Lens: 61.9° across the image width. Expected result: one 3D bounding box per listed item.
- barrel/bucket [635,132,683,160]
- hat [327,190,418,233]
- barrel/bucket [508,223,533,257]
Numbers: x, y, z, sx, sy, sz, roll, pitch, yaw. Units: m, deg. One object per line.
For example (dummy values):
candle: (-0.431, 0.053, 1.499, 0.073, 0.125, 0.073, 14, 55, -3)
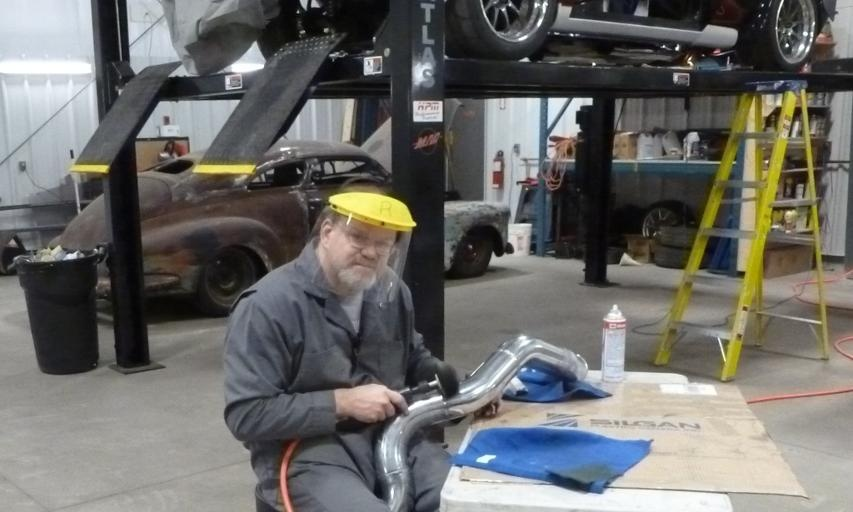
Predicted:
barrel/bucket: (3.900, -1.836, 11.931, 0.347, 0.590, 0.332, 15, 19, -5)
hat: (-0.352, -0.290, 4.348, 0.348, 0.099, 0.305, 16, 7, 18)
barrel/bucket: (1.653, -0.306, 13.109, 0.570, 0.545, 0.551, 0, 1, 0)
